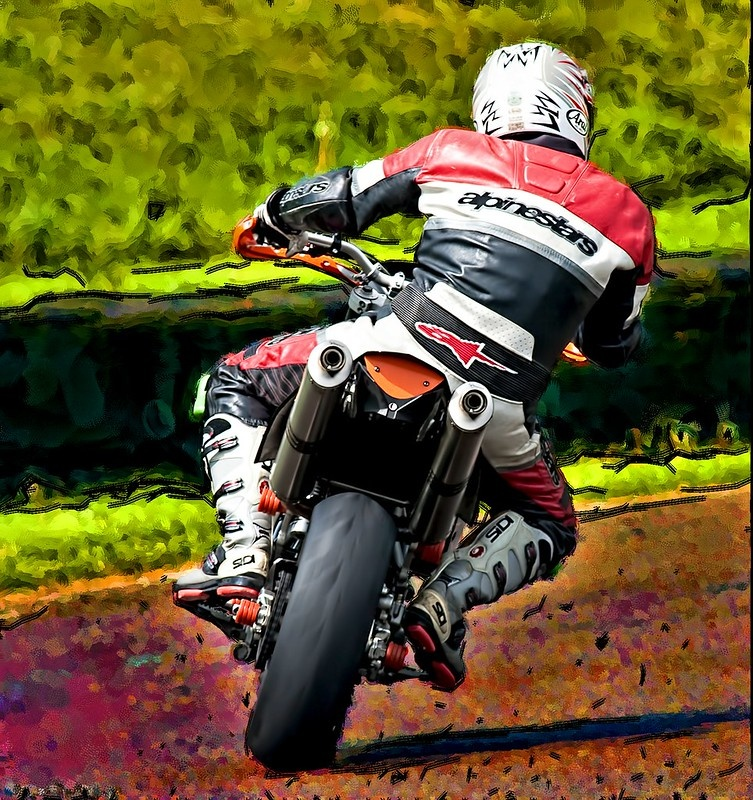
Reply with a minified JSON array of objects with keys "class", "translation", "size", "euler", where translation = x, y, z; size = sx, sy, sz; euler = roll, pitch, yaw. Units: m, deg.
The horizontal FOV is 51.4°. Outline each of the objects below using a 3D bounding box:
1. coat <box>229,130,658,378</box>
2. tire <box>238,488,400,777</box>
[{"class":"coat","translation":[0.263,-0.498,2.316],"size":[1.258,0.596,0.665],"euler":[15,54,4]},{"class":"tire","translation":[-0.114,0.514,1.825],"size":[0.179,0.529,0.535],"euler":[20,46,6]}]
